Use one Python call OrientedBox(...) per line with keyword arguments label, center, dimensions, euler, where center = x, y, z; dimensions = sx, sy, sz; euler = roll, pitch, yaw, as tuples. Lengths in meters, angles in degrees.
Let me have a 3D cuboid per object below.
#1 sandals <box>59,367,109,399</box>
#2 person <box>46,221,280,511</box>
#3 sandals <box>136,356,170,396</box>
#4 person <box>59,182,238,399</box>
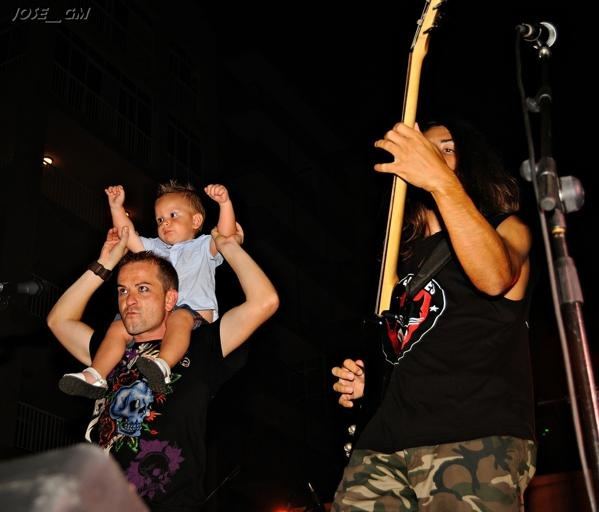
OrientedBox(label="sandals", center=(-1.239, 0.732, 3.054), dimensions=(0.261, 0.170, 0.153), euler=(16, -60, -13))
OrientedBox(label="person", center=(-0.705, 0.583, 3.068), dimensions=(0.979, 1.621, 0.563), euler=(3, -14, -20))
OrientedBox(label="sandals", center=(-0.775, 0.625, 2.787), dimensions=(0.134, 0.220, 0.087), euler=(12, 31, 22))
OrientedBox(label="person", center=(-0.962, 0.129, 3.440), dimensions=(0.867, 1.562, 1.018), euler=(-14, -20, 36))
